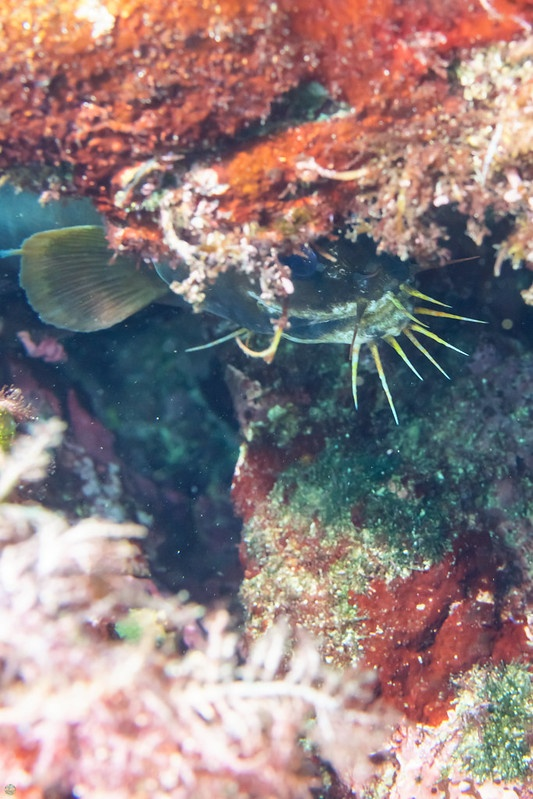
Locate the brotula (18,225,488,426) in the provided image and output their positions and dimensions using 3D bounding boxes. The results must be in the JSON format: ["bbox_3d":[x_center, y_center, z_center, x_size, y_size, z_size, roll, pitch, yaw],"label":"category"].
[{"bbox_3d":[-0.172,-0.478,3.231,1.888,0.698,0.711,17,32,41],"label":"brotula"}]
